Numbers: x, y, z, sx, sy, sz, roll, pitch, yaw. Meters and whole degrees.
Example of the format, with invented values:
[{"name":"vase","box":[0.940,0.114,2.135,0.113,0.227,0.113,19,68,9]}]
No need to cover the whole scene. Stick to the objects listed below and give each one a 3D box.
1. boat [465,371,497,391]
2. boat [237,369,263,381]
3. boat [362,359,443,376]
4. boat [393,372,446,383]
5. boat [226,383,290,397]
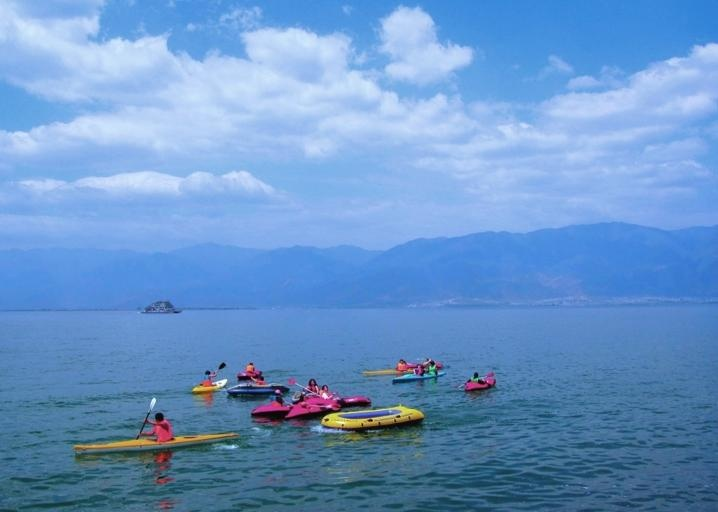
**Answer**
[{"name":"boat","box":[13.600,13.807,71.875,1.931,1.175,3.990,-8,-11,37]},{"name":"boat","box":[-13.226,14.464,78.972,3.249,0.974,1.842,1,5,-17]},{"name":"boat","box":[5.765,14.825,86.932,9.835,2.534,2.070,-1,33,-9]},{"name":"boat","box":[7.322,14.627,79.267,8.265,0.764,2.470,1,-4,-37]},{"name":"boat","box":[-11.164,14.531,70.848,5.726,1.140,3.273,1,-6,-13]}]
